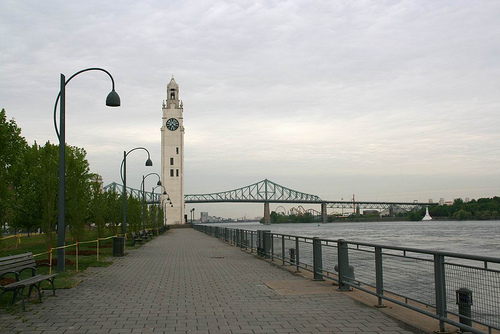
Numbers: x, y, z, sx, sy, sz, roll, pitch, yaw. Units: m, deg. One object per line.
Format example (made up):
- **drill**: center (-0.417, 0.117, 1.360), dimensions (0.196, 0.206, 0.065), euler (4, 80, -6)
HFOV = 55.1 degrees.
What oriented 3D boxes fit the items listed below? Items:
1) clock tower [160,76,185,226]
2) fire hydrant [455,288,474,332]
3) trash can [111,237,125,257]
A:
- **clock tower**: center (-17.589, -3.950, 107.592), dimensions (7.733, 31.273, 7.643), euler (-5, 9, -45)
- **fire hydrant**: center (4.067, 2.713, 9.060), dimensions (0.295, 0.832, 0.355), euler (-1, -5, 17)
- **trash can**: center (-6.099, 3.632, 22.055), dimensions (0.801, 1.088, 0.771), euler (-1, -4, -3)
